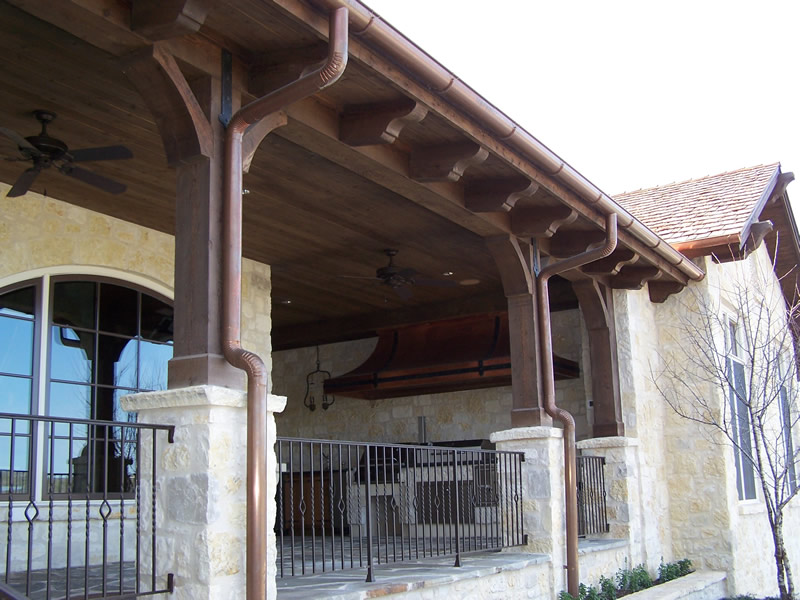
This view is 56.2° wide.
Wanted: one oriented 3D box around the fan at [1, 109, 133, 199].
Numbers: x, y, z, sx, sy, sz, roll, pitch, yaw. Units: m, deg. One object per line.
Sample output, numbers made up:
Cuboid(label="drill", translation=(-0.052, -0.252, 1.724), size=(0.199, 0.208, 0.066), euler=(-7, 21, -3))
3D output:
Cuboid(label="fan", translation=(-2.541, -1.139, 5.789), size=(0.804, 0.502, 0.945), euler=(6, -14, -26))
